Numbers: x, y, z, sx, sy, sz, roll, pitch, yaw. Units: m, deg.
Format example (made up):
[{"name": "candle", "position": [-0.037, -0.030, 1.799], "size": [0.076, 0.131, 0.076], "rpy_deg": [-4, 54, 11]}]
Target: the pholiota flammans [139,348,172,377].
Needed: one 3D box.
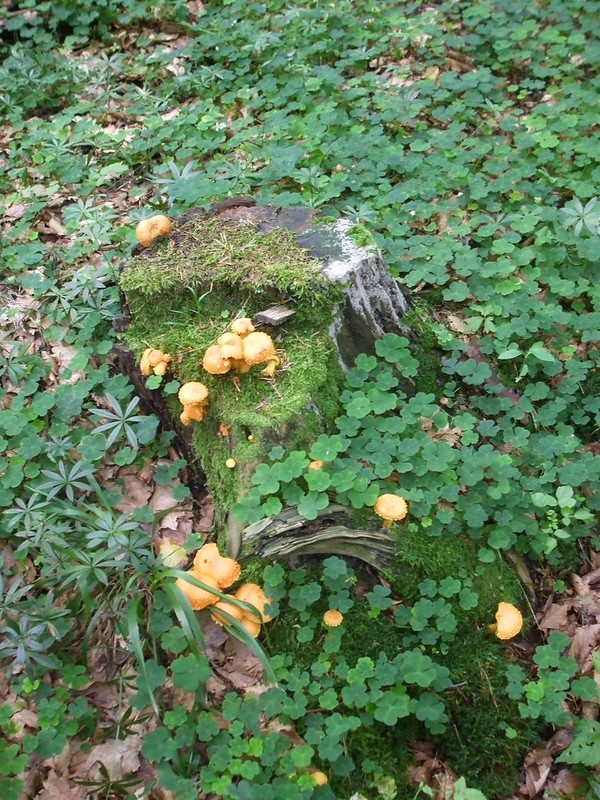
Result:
[{"name": "pholiota flammans", "position": [-0.855, -0.211, 4.154], "size": [0.177, 0.052, 0.153], "rpy_deg": [7, 84, 1]}]

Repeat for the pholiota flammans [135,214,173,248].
[{"name": "pholiota flammans", "position": [-0.911, -1.049, 4.428], "size": [0.225, 0.105, 0.192], "rpy_deg": [-17, 67, -7]}]

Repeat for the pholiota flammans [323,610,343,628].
[{"name": "pholiota flammans", "position": [0.169, 1.126, 3.670], "size": [0.099, 0.036, 0.084], "rpy_deg": [-2, 62, -1]}]
